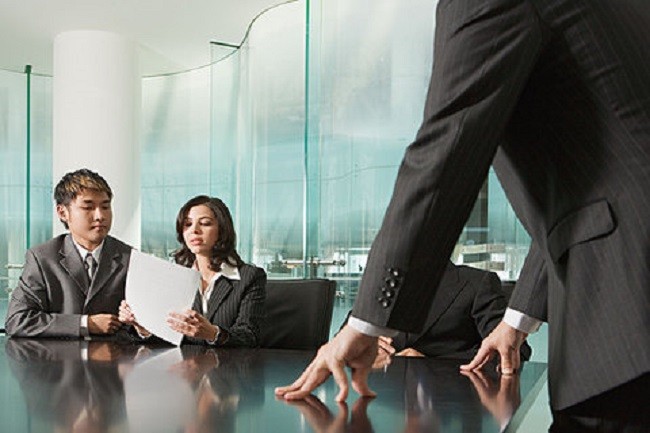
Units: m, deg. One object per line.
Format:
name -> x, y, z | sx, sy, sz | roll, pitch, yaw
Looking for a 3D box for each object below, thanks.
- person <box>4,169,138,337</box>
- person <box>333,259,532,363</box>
person -> -1.123, 0.121, 2.133 | 0.465, 0.748, 0.701 | 2, -4, -22
person -> 0.711, 0.485, 2.538 | 0.955, 0.422, 1.136 | -8, -10, 38
